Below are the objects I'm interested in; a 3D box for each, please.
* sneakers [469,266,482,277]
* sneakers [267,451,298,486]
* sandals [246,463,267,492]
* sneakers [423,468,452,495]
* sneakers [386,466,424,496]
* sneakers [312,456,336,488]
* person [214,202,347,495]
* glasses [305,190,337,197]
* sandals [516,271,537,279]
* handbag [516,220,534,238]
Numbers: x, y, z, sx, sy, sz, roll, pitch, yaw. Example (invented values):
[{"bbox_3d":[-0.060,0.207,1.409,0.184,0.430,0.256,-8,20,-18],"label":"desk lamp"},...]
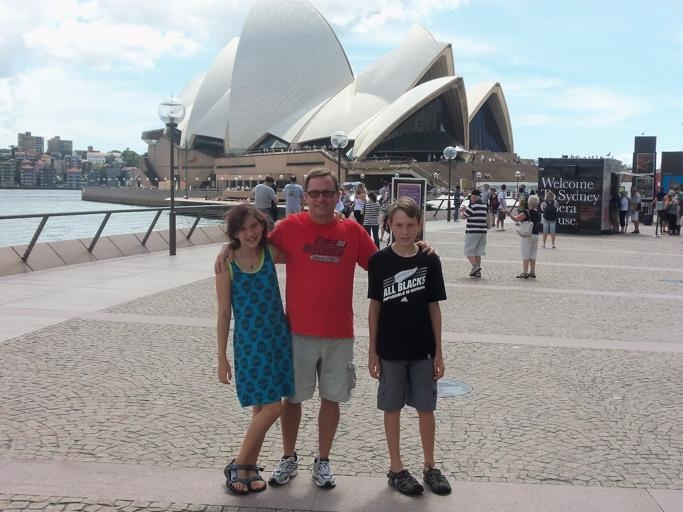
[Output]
[{"bbox_3d":[2.861,0.311,13.601,0.254,0.251,0.528,2,8,12],"label":"sneakers"},{"bbox_3d":[-0.411,1.493,4.433,0.101,0.112,0.260,3,7,21],"label":"sneakers"},{"bbox_3d":[-0.578,1.493,4.261,0.099,0.176,0.136,8,11,44],"label":"sandals"},{"bbox_3d":[0.645,1.534,4.300,0.092,0.099,0.231,-4,-2,-7],"label":"sneakers"},{"bbox_3d":[0.423,1.533,4.324,0.262,0.113,0.102,3,8,42],"label":"sneakers"},{"bbox_3d":[-0.113,1.487,4.324,0.096,0.108,0.244,1,-6,-10],"label":"sneakers"},{"bbox_3d":[-0.581,0.613,4.326,0.506,1.907,0.491,-1,8,-14],"label":"person"},{"bbox_3d":[-0.137,-0.431,4.400,0.189,0.054,0.069,0,8,-5],"label":"glasses"},{"bbox_3d":[3.928,0.403,13.529,0.374,0.157,0.160,2,3,6],"label":"sandals"},{"bbox_3d":[3.924,-0.574,13.615,0.330,0.323,0.319,3,8,17],"label":"handbag"}]
